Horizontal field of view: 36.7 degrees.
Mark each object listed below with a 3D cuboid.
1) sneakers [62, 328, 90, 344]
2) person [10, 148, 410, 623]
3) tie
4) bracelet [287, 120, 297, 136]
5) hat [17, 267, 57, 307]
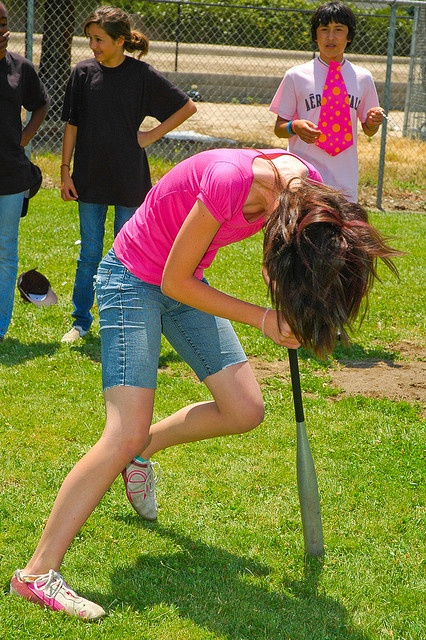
[{"bbox_3d":[-0.913,0.106,4.291,0.061,0.071,0.183,40,16,9],"label":"sneakers"},{"bbox_3d":[-0.059,0.199,1.881,0.952,1.295,0.790,15,15,40],"label":"person"},{"bbox_3d":[0.782,-1.310,4.004,0.234,0.571,0.171,5,14,2],"label":"tie"},{"bbox_3d":[0.476,-1.158,3.894,0.036,0.076,0.075,-5,0,2],"label":"bracelet"},{"bbox_3d":[-1.344,-0.227,4.868,0.235,0.321,0.106,-37,-4,-36],"label":"hat"}]
